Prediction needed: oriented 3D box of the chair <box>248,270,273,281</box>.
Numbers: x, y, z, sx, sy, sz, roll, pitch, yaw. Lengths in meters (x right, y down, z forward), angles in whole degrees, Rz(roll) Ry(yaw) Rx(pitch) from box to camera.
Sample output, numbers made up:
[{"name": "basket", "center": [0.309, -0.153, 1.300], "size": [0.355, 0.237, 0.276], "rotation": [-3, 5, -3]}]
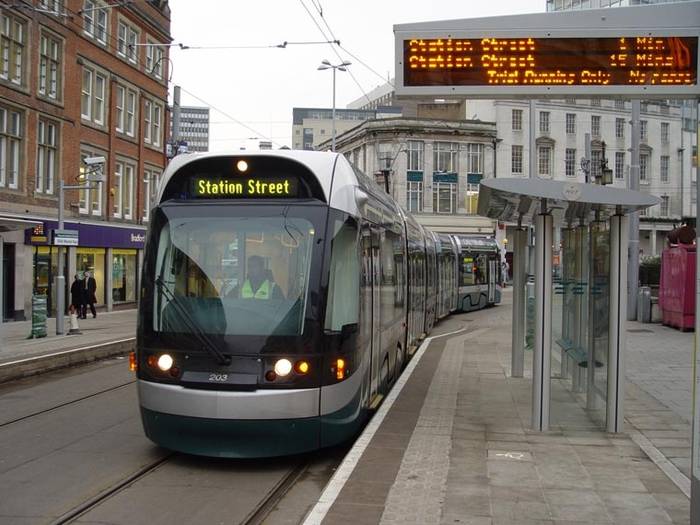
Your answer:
[{"name": "chair", "center": [-1.140, 0.168, 8.468], "size": [0.205, 0.171, 0.157], "rotation": [-9, -3, 2]}]

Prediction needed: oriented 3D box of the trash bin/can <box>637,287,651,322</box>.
[{"name": "trash bin/can", "center": [11.648, 1.708, 26.497], "size": [0.485, 1.285, 0.774], "rotation": [-1, 0, 23]}]

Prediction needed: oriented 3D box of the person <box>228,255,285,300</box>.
[{"name": "person", "center": [-1.200, 0.296, 8.512], "size": [0.871, 0.646, 0.386], "rotation": [-1, -7, 5]}]
